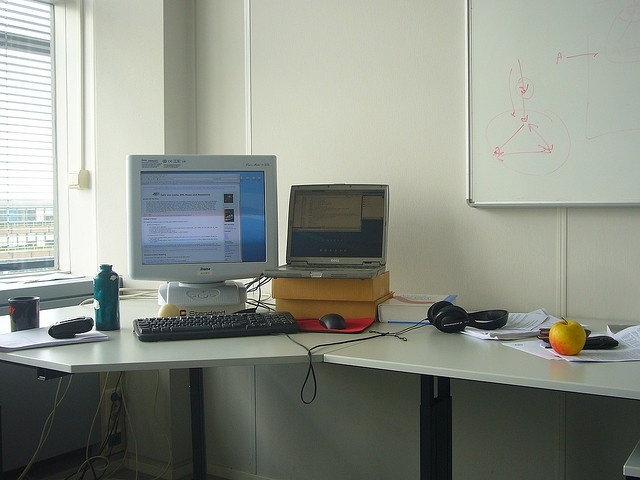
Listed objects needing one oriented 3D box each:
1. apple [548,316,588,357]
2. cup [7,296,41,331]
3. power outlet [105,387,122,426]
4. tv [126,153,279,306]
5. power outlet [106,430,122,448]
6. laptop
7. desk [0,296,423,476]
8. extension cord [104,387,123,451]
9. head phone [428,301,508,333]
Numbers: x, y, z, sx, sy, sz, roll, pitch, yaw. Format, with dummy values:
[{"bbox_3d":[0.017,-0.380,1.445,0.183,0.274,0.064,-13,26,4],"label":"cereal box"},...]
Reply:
[{"bbox_3d":[0.816,0.316,1.815,0.116,0.134,0.119,-4,-1,8],"label":"apple"},{"bbox_3d":[-1.125,0.278,2.088,0.082,0.143,0.139,1,2,20],"label":"cup"},{"bbox_3d":[-1.096,0.902,2.910,0.086,0.228,0.025,-15,-13,21],"label":"power outlet"},{"bbox_3d":[-0.522,-0.059,2.449,0.659,0.695,0.406,-2,19,-20],"label":"tv"},{"bbox_3d":[-1.098,1.051,2.906,0.054,0.102,0.104,0,-2,16],"label":"power outlet"},{"bbox_3d":[0.033,-0.045,2.234,0.490,0.374,0.413,-1,3,8],"label":"laptop"},{"bbox_3d":[-0.450,0.640,2.401,0.925,0.487,0.954,-2,-3,31],"label":"desk"},{"bbox_3d":[-1.101,0.973,2.925,0.032,0.337,0.133,-11,-13,33],"label":"extension cord"},{"bbox_3d":[0.554,0.293,2.078,0.195,0.074,0.150,-4,3,3],"label":"head phone"}]
